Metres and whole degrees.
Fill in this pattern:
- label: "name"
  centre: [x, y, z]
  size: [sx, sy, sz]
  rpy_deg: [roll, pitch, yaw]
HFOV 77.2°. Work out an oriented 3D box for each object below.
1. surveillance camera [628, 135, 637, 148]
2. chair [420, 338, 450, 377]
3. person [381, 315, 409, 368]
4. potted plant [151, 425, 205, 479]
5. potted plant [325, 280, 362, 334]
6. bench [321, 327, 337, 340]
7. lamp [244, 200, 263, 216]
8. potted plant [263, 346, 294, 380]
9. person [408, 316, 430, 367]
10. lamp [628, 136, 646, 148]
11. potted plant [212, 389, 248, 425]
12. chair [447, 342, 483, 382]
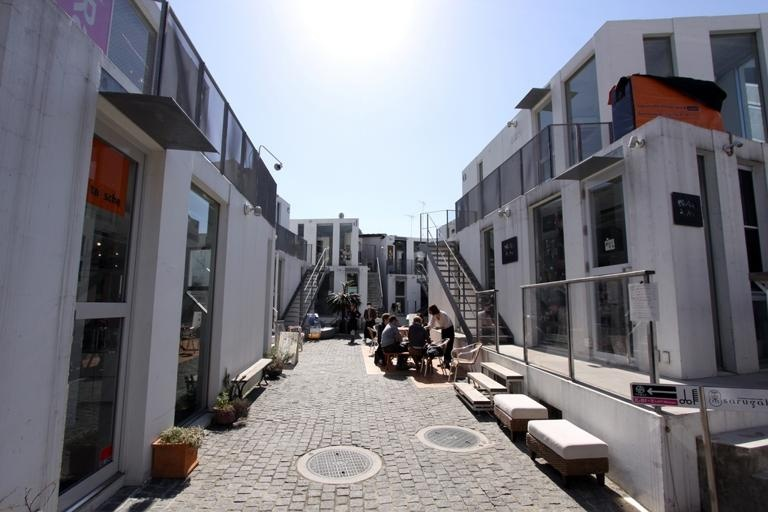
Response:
- label: "surveillance camera"
  centre: [4.337, -1.979, 8.394]
  size: [0.109, 0.157, 0.150]
  rpy_deg: [8, 8, -10]
- label: "chair"
  centre: [1.246, 2.616, 12.413]
  size: [0.777, 1.096, 0.847]
  rpy_deg: [3, -14, -8]
- label: "person"
  centre: [0.257, 2.317, 13.022]
  size: [0.731, 1.438, 1.178]
  rpy_deg: [1, 3, 1]
- label: "potted plant"
  centre: [-2.969, 2.837, 6.853]
  size: [0.483, 0.478, 0.782]
  rpy_deg: [0, -8, -3]
- label: "potted plant"
  centre: [-1.950, 2.421, 22.892]
  size: [1.475, 2.201, 1.576]
  rpy_deg: [0, 2, 21]
- label: "bench"
  centre: [-2.466, 3.449, 21.216]
  size: [0.523, 0.472, 2.028]
  rpy_deg: [2, 3, 3]
- label: "lamp"
  centre: [-2.870, -1.021, 10.443]
  size: [0.261, 0.217, 0.218]
  rpy_deg: [0, -6, 3]
- label: "potted plant"
  centre: [-2.585, 2.623, 11.673]
  size: [0.520, 0.752, 0.568]
  rpy_deg: [-1, -3, 13]
- label: "person"
  centre: [0.891, 2.231, 12.364]
  size: [0.562, 1.432, 0.681]
  rpy_deg: [2, 3, 5]
- label: "lamp"
  centre: [4.365, -1.960, 8.313]
  size: [0.098, 0.234, 0.404]
  rpy_deg: [1, 3, -5]
- label: "potted plant"
  centre: [-2.697, 2.662, 8.430]
  size: [0.407, 0.438, 0.594]
  rpy_deg: [2, -5, 2]
- label: "chair"
  centre: [1.968, 2.538, 11.839]
  size: [0.768, 1.044, 2.027]
  rpy_deg: [2, 3, 4]
